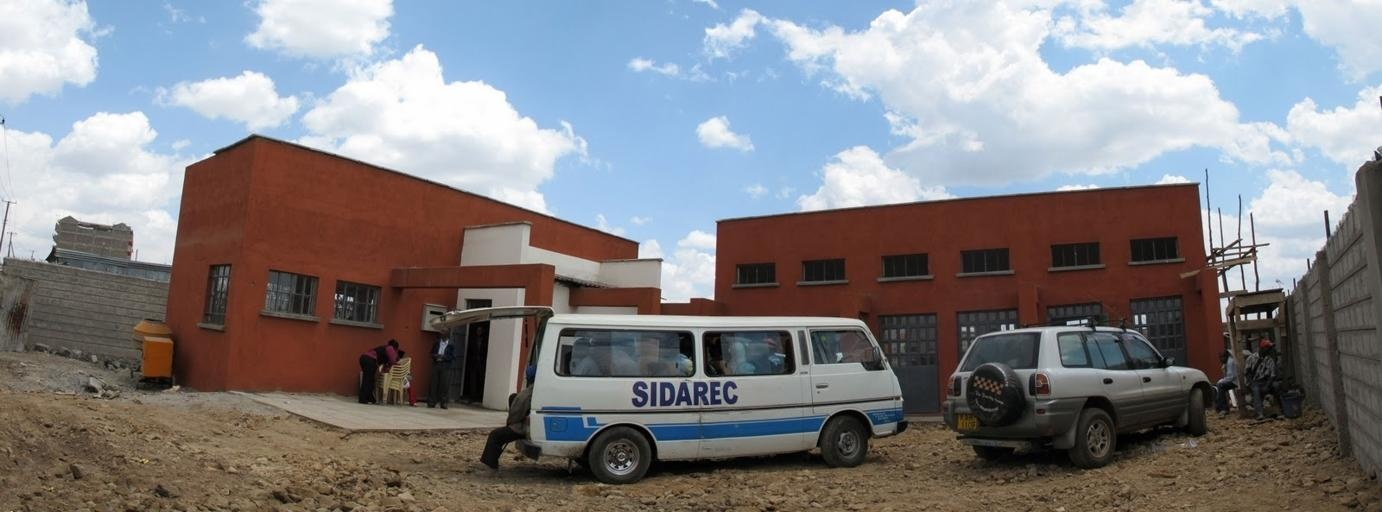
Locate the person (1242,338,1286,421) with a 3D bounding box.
[{"bbox_3d":[22.790,4.864,31.732,1.100,3.134,1.168,-10,-17,29],"label":"person"}]

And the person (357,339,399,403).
[{"bbox_3d":[-14.549,5.338,36.956,1.539,2.975,1.015,3,-15,-17],"label":"person"}]
